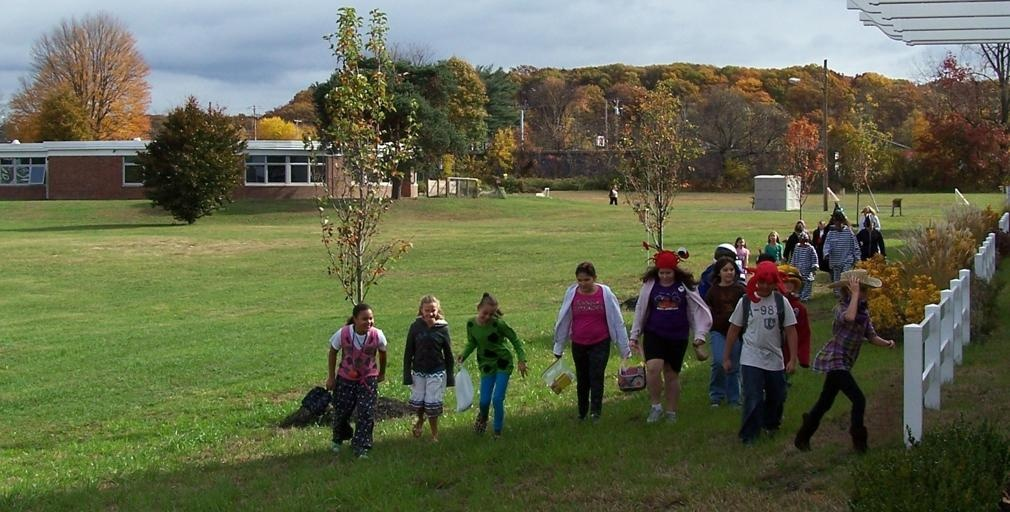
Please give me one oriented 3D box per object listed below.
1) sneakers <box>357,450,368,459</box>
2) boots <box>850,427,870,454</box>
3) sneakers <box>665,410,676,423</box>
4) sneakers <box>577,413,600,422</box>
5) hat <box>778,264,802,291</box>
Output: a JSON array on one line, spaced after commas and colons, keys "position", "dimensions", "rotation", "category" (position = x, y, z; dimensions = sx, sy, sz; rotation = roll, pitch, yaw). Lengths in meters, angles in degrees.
[{"position": [-3.590, 4.929, 22.947], "dimensions": [0.229, 0.193, 0.222], "rotation": [-2, -10, 6], "category": "sneakers"}, {"position": [8.277, 4.302, 21.531], "dimensions": [0.357, 0.621, 0.248], "rotation": [-1, 4, 1], "category": "boots"}, {"position": [4.166, 4.075, 23.385], "dimensions": [0.289, 0.261, 0.266], "rotation": [1, -12, -3], "category": "sneakers"}, {"position": [2.135, 4.145, 23.681], "dimensions": [0.596, 0.186, 0.246], "rotation": [-2, 7, -33], "category": "sneakers"}, {"position": [7.069, 0.523, 22.984], "dimensions": [0.784, 0.547, 0.346], "rotation": [-5, 6, -41], "category": "hat"}]
